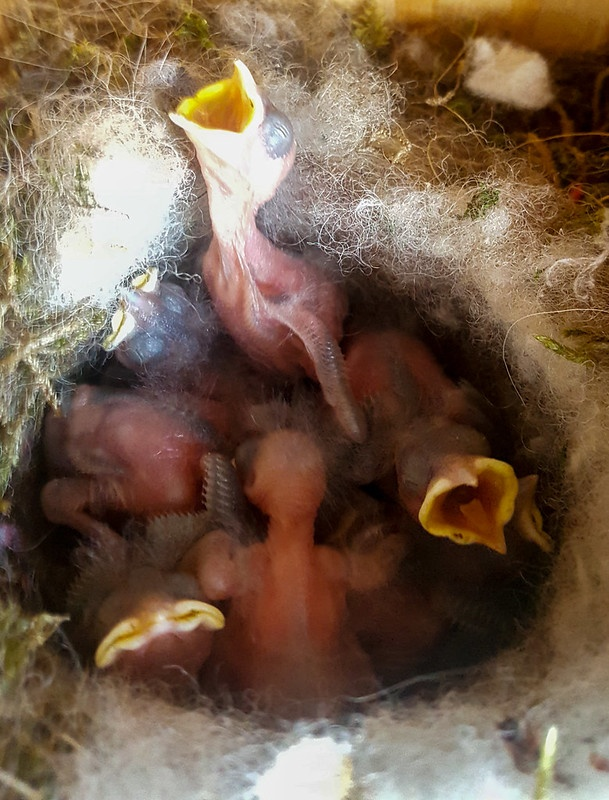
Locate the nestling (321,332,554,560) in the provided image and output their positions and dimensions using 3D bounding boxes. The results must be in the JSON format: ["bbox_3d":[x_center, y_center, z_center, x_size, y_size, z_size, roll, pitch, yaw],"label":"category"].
[{"bbox_3d":[0.148,0.045,0.867,0.145,0.091,0.198,-42,63,17],"label":"nestling"}]

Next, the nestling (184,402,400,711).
[{"bbox_3d":[-0.010,0.128,0.769,0.219,0.080,0.200,-7,88,-9],"label":"nestling"}]
